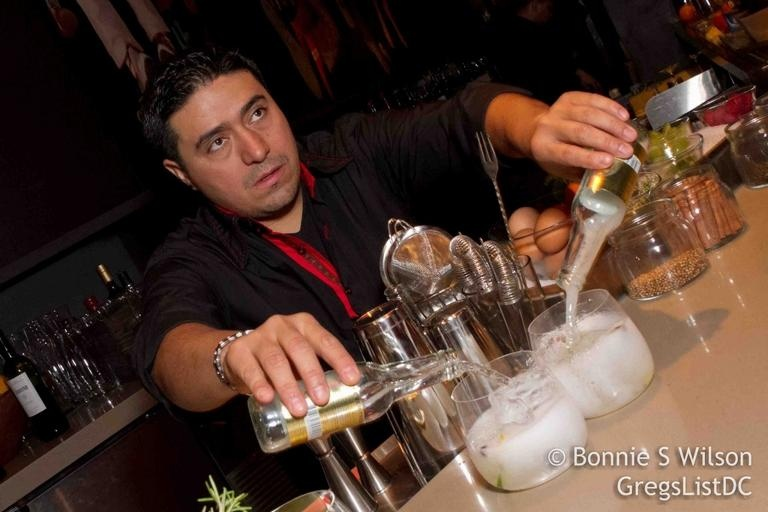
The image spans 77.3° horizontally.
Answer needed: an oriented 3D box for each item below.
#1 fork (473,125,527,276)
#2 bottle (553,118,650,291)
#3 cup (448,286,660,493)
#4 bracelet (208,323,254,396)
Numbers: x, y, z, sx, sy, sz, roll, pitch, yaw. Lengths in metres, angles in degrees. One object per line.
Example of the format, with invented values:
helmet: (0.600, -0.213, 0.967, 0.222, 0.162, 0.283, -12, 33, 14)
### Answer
fork: (0.453, -0.230, 1.894, 0.088, 0.782, 0.087, -13, -4, 20)
bottle: (0.424, -0.074, 0.958, 0.307, 0.209, 0.070, -37, 11, -25)
cup: (0.364, 0.231, 1.000, 0.471, 0.222, 0.250, -28, 9, -18)
bracelet: (-0.333, 0.214, 1.085, 0.043, 0.126, 0.159, 1, 20, -6)
